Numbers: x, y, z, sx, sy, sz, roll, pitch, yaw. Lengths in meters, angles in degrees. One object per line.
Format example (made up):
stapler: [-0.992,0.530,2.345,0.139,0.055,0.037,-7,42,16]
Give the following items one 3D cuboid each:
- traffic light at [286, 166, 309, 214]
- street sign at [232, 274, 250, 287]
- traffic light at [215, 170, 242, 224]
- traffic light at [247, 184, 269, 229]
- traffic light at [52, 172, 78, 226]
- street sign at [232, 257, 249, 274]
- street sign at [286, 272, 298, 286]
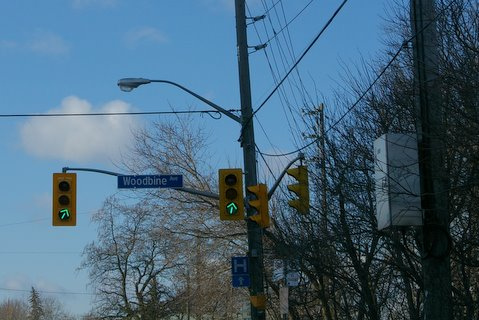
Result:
traffic light: [1.670,0.860,28.784,0.639,1.491,0.458,-7,-21,3]
street sign: [0.034,3.500,29.134,0.356,0.281,0.014,1,-19,-7]
traffic light: [-0.252,0.992,28.501,0.687,1.593,0.298,-1,23,1]
traffic light: [0.519,1.305,29.066,0.577,1.348,0.645,-1,2,0]
traffic light: [-5.177,1.138,29.540,0.699,1.625,0.450,-2,-21,-10]
street sign: [-0.013,3.084,29.241,0.442,0.465,0.116,-3,-9,2]
street sign: [1.539,3.520,29.626,0.394,0.486,0.062,0,-9,1]
